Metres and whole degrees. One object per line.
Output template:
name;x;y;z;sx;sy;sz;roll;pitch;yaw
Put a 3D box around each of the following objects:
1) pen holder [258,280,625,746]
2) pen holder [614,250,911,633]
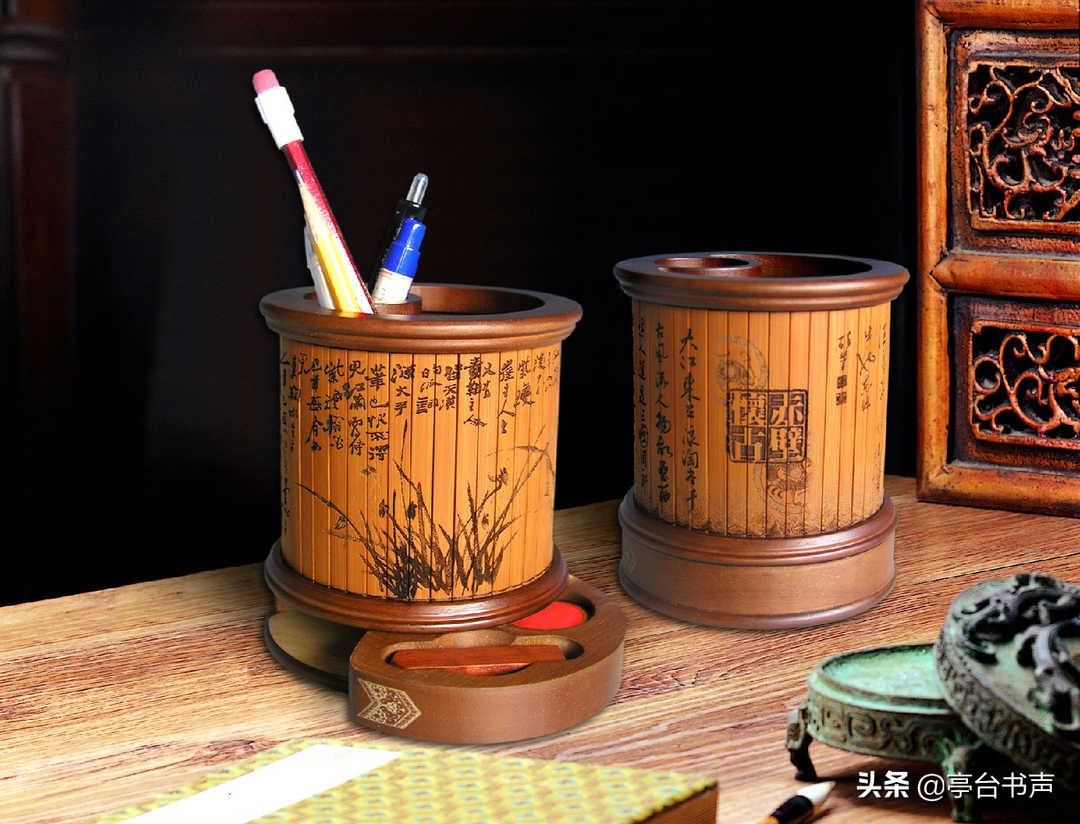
pen holder;-0.107;0.101;1.841;0.607;0.519;0.651;-4;12;-27
pen holder;0.307;0.013;2.104;0.648;0.567;0.584;-2;14;-6
